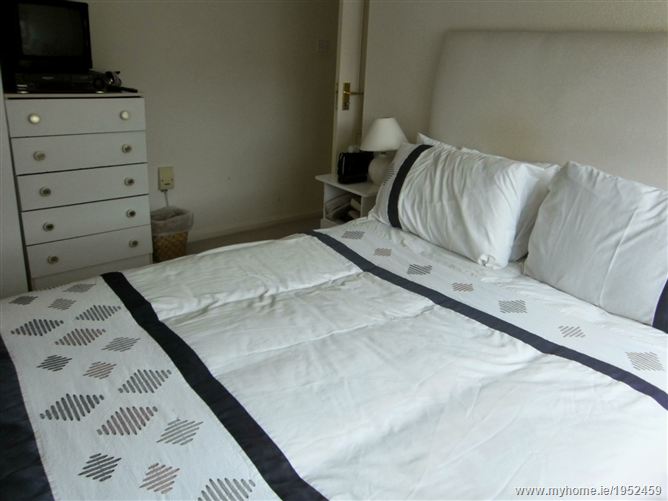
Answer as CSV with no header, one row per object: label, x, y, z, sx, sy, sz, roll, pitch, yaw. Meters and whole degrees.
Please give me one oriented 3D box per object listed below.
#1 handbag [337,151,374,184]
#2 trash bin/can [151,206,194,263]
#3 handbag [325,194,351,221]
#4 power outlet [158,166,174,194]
handbag,0.143,-0.566,3.269,0.189,0.172,0.104,-10,31,-31
trash bin/can,-1.123,-0.105,3.441,0.345,0.451,0.380,-6,20,-25
handbag,0.020,-0.304,3.427,0.183,0.077,0.157,-14,6,0
power outlet,-1.254,-0.533,3.550,0.156,0.242,0.067,-10,22,-42
